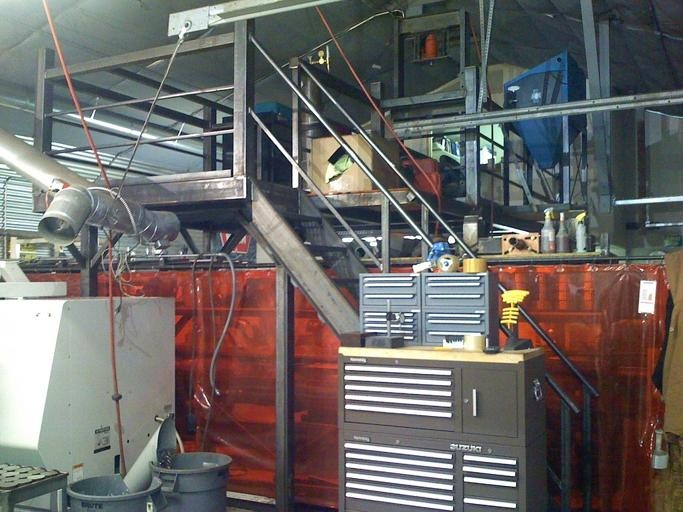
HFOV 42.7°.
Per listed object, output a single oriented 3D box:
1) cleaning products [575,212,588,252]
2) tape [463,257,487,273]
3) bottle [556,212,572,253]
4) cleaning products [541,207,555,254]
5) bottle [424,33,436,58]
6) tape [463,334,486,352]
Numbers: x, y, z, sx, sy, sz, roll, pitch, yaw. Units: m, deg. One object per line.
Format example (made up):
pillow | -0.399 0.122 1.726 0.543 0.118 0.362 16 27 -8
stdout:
cleaning products | 2.193 -0.216 7.995 0.105 0.392 0.405 -3 -7 16
tape | 1.015 0.088 6.626 0.117 0.077 0.123 -2 -8 21
bottle | 2.017 -0.209 7.970 0.129 0.441 0.522 -3 -7 15
cleaning products | 1.877 -0.226 7.950 0.130 0.454 0.334 -3 -7 14
bottle | 1.025 -2.417 10.099 0.158 0.306 0.042 -4 -7 19
tape | 0.969 0.643 6.378 0.124 0.091 0.128 3 -5 -11
